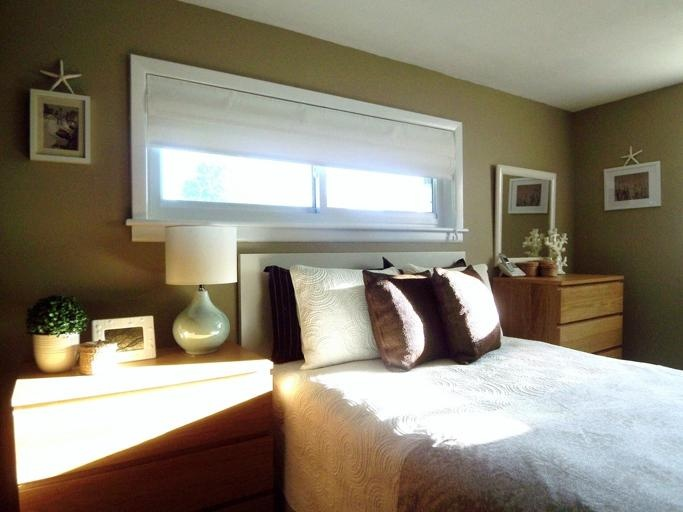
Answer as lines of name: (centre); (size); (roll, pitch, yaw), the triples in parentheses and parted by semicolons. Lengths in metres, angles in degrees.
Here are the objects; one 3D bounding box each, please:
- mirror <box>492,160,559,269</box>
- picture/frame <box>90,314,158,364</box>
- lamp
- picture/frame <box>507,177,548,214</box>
mirror: (1.519, -0.326, 4.221); (0.891, 1.028, 0.040); (1, -1, -41)
picture/frame: (-1.113, 0.370, 2.511); (0.325, 0.279, 0.195); (1, 37, -28)
lamp: (-0.699, 0.174, 2.532); (0.340, 0.657, 0.236); (-2, 6, -20)
picture/frame: (1.565, -0.511, 4.281); (0.325, 0.248, 0.014); (0, -2, -35)
